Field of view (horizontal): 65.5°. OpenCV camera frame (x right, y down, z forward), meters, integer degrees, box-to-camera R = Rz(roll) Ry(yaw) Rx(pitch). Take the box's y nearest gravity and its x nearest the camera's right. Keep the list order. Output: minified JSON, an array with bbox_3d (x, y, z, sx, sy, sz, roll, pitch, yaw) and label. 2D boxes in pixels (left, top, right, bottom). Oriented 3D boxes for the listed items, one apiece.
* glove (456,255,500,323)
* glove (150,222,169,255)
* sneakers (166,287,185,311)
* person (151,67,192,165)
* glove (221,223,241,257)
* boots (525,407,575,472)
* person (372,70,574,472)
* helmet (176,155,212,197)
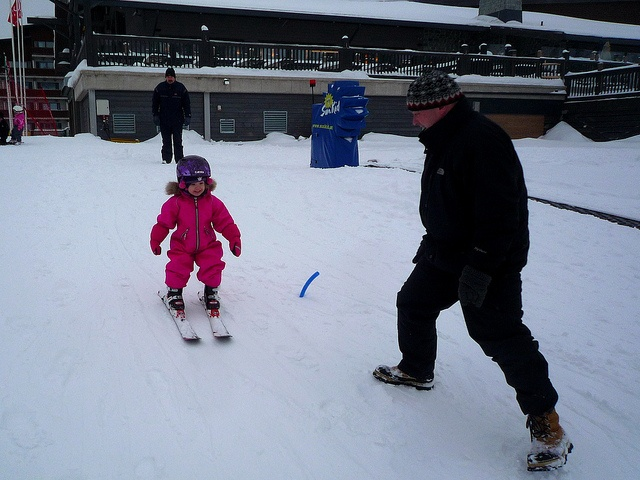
[{"bbox_3d":[0.881,0.289,2.811,0.040,0.219,0.232,-36,18,-15],"label":"glove"},{"bbox_3d":[-1.389,-0.040,4.241,0.180,0.136,0.379,-9,-16,-31],"label":"glove"},{"bbox_3d":[-1.235,0.495,4.244,0.088,0.197,0.276,3,17,-20],"label":"sneakers"},{"bbox_3d":[-3.191,-2.664,10.741,0.757,1.977,0.811,-4,15,-15],"label":"person"},{"bbox_3d":[-0.736,-0.002,4.373,0.113,0.281,0.163,-2,-29,-44],"label":"glove"},{"bbox_3d":[1.329,1.152,2.938,0.160,0.305,0.406,-20,-10,30],"label":"boots"},{"bbox_3d":[0.933,0.151,2.973,0.473,2.230,1.175,-11,18,-36],"label":"person"},{"bbox_3d":[-1.083,-0.549,4.232,0.358,0.372,0.295,12,18,40],"label":"helmet"}]
